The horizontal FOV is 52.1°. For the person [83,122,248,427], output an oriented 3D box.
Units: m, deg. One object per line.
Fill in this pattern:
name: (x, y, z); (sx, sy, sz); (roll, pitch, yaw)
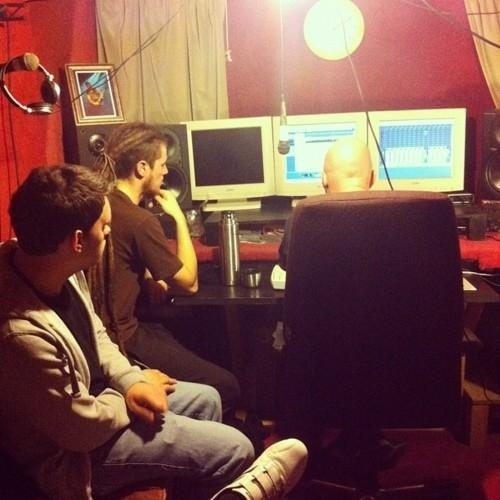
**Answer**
person: (-0.327, 0.188, 2.136); (0.612, 1.325, 0.505); (-2, 13, -16)

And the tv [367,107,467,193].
tv: (0.887, -0.534, 2.709); (0.522, 0.500, 0.300); (0, 14, 8)

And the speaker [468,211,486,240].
speaker: (1.066, -0.111, 2.404); (0.075, 0.124, 0.053); (2, 4, 20)
